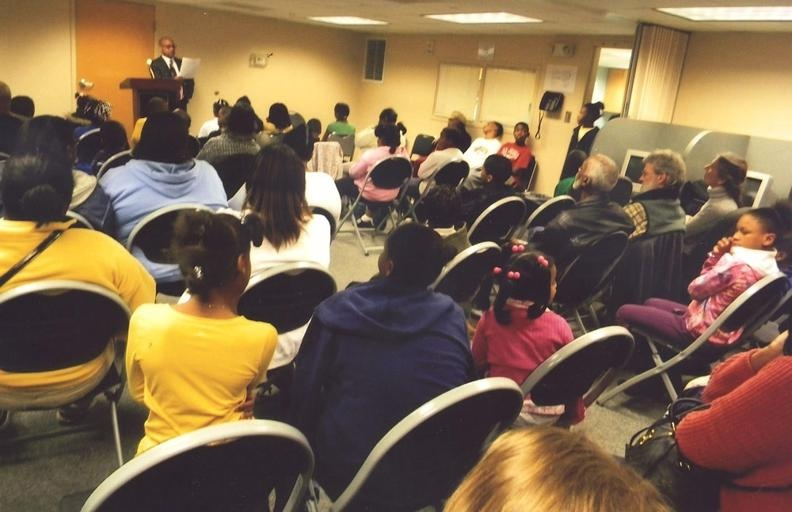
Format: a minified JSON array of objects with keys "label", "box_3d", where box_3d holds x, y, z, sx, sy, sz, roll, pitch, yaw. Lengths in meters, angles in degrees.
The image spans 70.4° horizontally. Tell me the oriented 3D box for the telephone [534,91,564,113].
[{"label":"telephone","box_3d":[2.324,-2.305,8.385,0.327,0.319,0.097,17,9,33]}]
